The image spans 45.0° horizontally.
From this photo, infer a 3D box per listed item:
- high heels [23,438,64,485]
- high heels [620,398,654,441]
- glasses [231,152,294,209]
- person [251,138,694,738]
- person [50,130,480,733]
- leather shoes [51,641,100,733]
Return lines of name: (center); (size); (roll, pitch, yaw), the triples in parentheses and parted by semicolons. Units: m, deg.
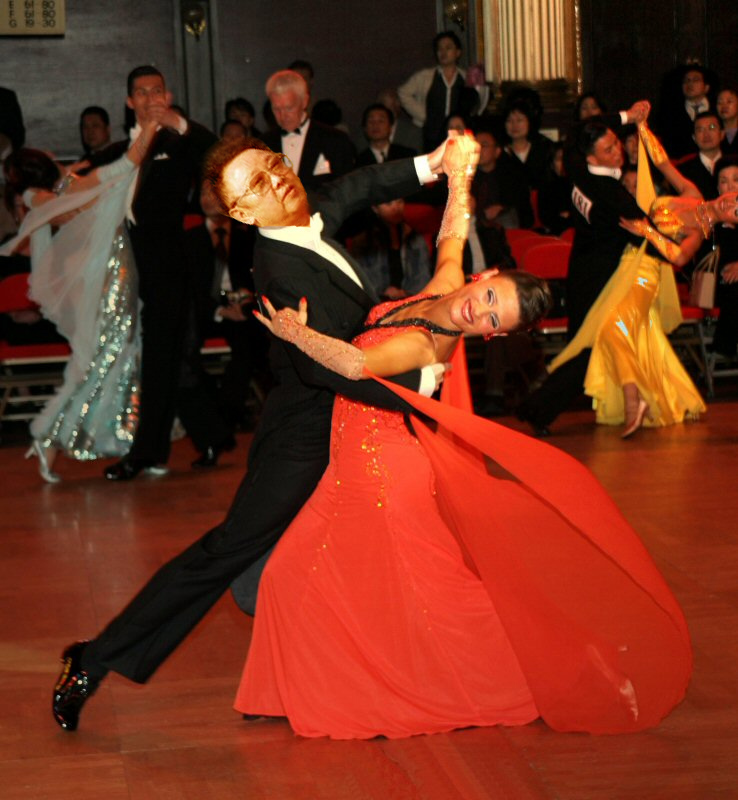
high heels: (-1.818, 0.346, 4.961); (0.195, 0.226, 0.085); (-15, 8, 2)
high heels: (1.607, 0.105, 5.358); (0.138, 0.281, 0.123); (19, -12, 3)
glasses: (-0.256, -0.510, 2.056); (0.133, 0.037, 0.128); (-14, -8, -39)
person: (0.076, 0.109, 2.624); (1.339, 1.419, 1.022); (4, 19, 5)
person: (-0.157, 0.056, 2.194); (0.699, 1.430, 1.153); (7, 16, 44)
leather shoes: (-0.712, 0.705, 2.163); (0.101, 0.227, 0.185); (6, -6, -26)
